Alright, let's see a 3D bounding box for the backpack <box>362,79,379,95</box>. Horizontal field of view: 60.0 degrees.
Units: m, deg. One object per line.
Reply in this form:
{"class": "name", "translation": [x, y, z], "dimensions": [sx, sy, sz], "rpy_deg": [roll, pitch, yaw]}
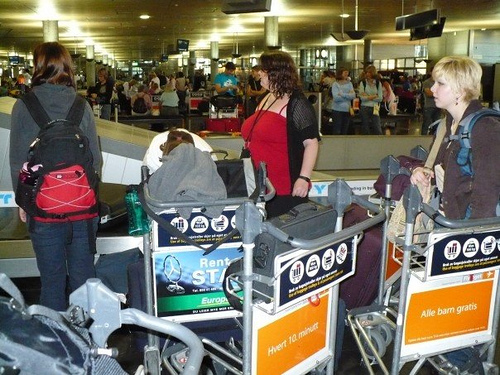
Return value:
{"class": "backpack", "translation": [2.792, -2.347, 10.068], "dimensions": [0.230, 0.342, 0.309], "rpy_deg": [3, 9, 7]}

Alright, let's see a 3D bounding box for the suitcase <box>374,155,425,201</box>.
{"class": "suitcase", "translation": [0.966, -0.045, 2.772], "dimensions": [0.119, 0.309, 0.308], "rpy_deg": [23, 14, -3]}

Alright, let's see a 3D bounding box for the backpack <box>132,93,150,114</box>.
{"class": "backpack", "translation": [-3.298, -2.594, 13.260], "dimensions": [0.560, 0.677, 0.493], "rpy_deg": [1, 18, -2]}

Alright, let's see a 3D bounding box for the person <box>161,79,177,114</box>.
{"class": "person", "translation": [-2.742, -3.016, 14.492], "dimensions": [0.499, 0.921, 1.740], "rpy_deg": [-5, 14, -11]}

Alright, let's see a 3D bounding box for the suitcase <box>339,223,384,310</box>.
{"class": "suitcase", "translation": [0.807, 0.582, 3.073], "dimensions": [0.330, 0.552, 0.140], "rpy_deg": [-7, 14, -22]}

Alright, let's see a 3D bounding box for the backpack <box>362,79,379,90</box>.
{"class": "backpack", "translation": [2.815, -2.403, 10.062], "dimensions": [0.402, 0.227, 0.392], "rpy_deg": [-1, 14, 6]}

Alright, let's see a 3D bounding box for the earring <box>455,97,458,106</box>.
{"class": "earring", "translation": [1.109, -0.464, 2.323], "dimensions": [0.011, 0.045, 0.019], "rpy_deg": [3, 14, 23]}

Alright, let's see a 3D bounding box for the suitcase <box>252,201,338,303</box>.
{"class": "suitcase", "translation": [0.238, 0.315, 2.009], "dimensions": [0.475, 0.392, 0.160], "rpy_deg": [-10, 24, -39]}

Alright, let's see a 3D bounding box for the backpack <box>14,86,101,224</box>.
{"class": "backpack", "translation": [-1.206, -0.193, 2.712], "dimensions": [0.517, 0.781, 0.406], "rpy_deg": [-7, 21, -30]}

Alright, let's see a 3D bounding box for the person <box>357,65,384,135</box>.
{"class": "person", "translation": [2.835, -2.029, 10.171], "dimensions": [0.551, 1.616, 0.984], "rpy_deg": [1, 13, 13]}

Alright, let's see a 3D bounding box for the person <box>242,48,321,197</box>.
{"class": "person", "translation": [0.202, -0.438, 2.979], "dimensions": [0.549, 0.978, 0.312], "rpy_deg": [9, 17, 40]}

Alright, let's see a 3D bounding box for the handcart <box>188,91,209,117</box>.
{"class": "handcart", "translation": [-2.362, -3.646, 18.624], "dimensions": [0.613, 0.948, 1.095], "rpy_deg": [2, 14, 19]}
